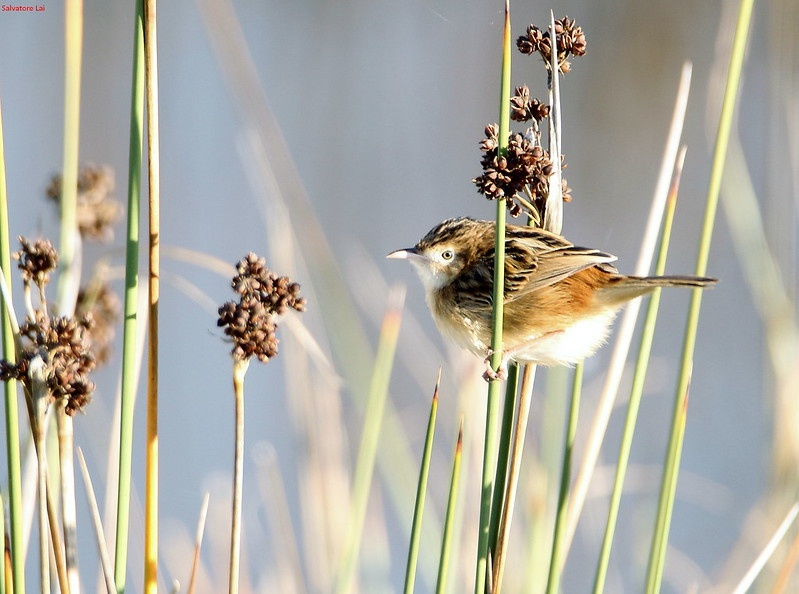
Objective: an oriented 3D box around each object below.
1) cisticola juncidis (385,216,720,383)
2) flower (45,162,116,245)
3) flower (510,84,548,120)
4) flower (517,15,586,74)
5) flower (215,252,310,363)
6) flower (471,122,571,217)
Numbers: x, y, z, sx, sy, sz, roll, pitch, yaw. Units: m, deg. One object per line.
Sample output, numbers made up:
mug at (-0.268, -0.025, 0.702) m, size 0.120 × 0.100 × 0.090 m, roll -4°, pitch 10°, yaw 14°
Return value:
cisticola juncidis at (0.883, 0.043, 7.394) m, size 1.855 × 1.075 × 0.644 m, roll -4°, pitch -10°, yaw 11°
flower at (-1.720, -0.553, 6.672) m, size 0.378 × 0.430 × 0.363 m, roll -26°, pitch -26°, yaw 33°
flower at (0.717, -1.069, 6.572) m, size 0.211 × 0.264 × 0.173 m, roll -5°, pitch -50°, yaw 2°
flower at (0.838, -1.436, 6.635) m, size 0.311 × 0.316 × 0.351 m, roll -12°, pitch -59°, yaw -39°
flower at (-0.708, 0.042, 6.120) m, size 0.404 × 0.542 × 0.339 m, roll 28°, pitch -56°, yaw -23°
flower at (0.665, -0.640, 6.439) m, size 0.377 × 0.595 × 0.520 m, roll 2°, pitch -12°, yaw 8°
